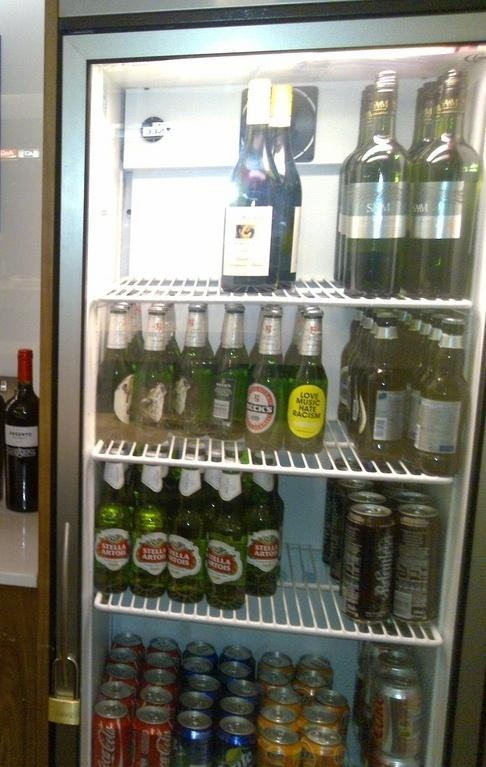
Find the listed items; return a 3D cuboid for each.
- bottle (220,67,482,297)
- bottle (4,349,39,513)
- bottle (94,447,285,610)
[{"bbox_3d":[0.201,-0.381,1.120,0.384,0.395,0.114,2,12,-1],"label":"bottle"},{"bbox_3d":[-0.535,0.117,1.466,0.084,0.414,0.126,-3,13,-22],"label":"bottle"},{"bbox_3d":[-0.113,0.293,1.225,0.312,0.319,0.075,2,3,1],"label":"bottle"}]
